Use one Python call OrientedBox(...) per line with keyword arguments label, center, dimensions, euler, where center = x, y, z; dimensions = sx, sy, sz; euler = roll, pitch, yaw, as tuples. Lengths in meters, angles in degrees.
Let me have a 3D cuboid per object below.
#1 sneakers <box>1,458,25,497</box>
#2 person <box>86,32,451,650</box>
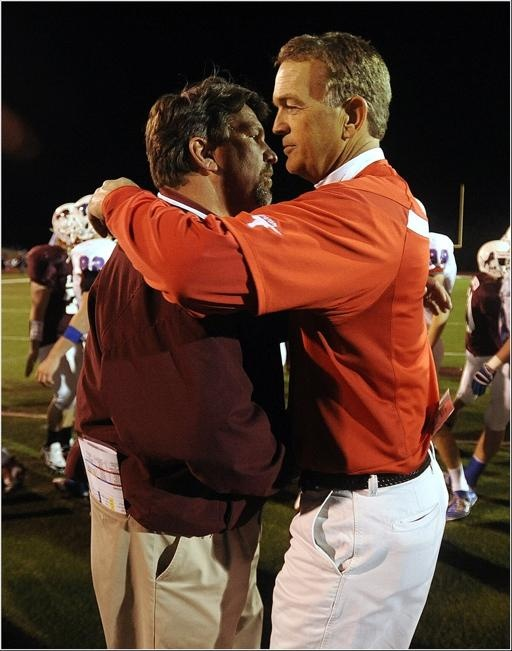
OrientedBox(label="sneakers", center=(-1.708, 1.075, 4.260), dimensions=(0.077, 0.074, 0.227), euler=(39, 1, -25))
OrientedBox(label="person", center=(0.165, 0.052, 1.739), dimensions=(1.069, 1.564, 0.513), euler=(2, 1, -37))
